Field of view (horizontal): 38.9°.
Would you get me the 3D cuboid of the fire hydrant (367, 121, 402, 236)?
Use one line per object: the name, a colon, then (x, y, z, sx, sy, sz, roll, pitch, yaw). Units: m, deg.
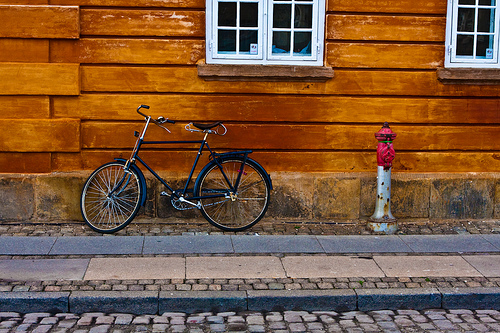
fire hydrant: (2.152, 0.175, 11.322, 0.548, 1.762, 0.692, 1, 5, 14)
